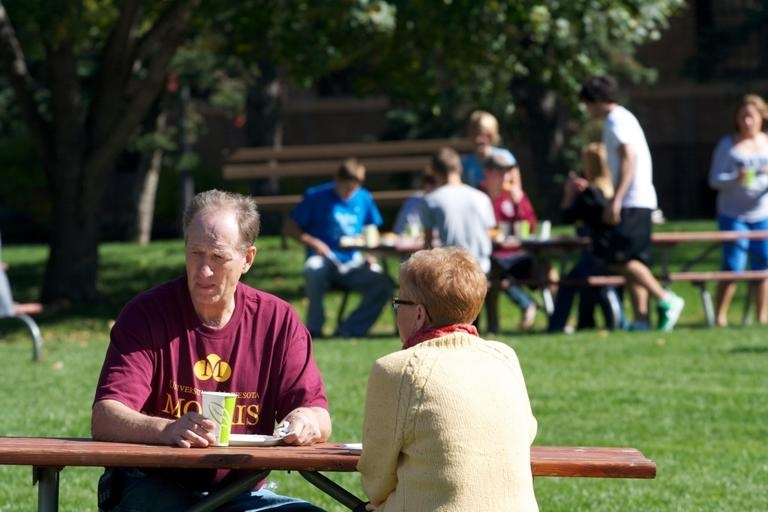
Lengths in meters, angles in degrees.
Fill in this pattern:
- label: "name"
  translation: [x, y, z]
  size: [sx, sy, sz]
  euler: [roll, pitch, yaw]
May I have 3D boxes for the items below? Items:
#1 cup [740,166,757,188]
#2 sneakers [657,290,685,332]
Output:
- label: "cup"
  translation: [4.290, -0.917, 21.351]
  size: [0.182, 0.238, 0.197]
  euler: [0, 6, 0]
- label: "sneakers"
  translation: [3.427, 0.604, 21.686]
  size: [0.238, 0.627, 0.206]
  euler: [13, 34, 14]
